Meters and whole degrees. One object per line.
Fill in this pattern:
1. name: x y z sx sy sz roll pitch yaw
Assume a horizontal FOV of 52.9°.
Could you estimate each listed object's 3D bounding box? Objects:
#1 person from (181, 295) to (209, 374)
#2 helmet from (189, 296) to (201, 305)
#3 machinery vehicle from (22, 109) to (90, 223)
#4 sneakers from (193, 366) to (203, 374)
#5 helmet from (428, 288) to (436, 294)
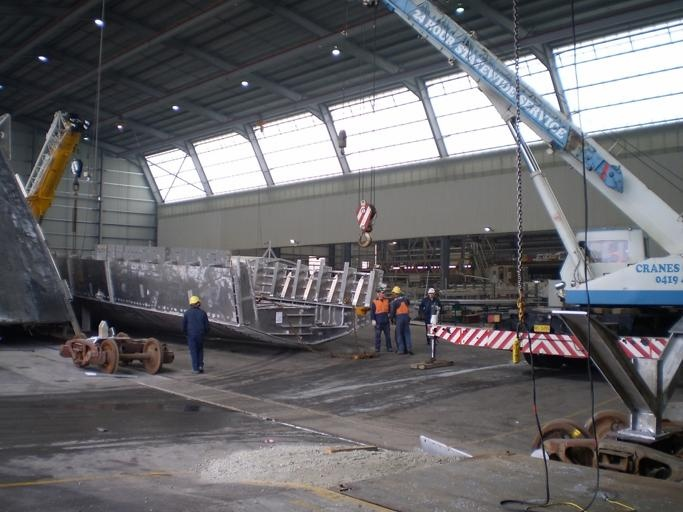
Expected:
1. person: -3.431 1.869 16.256 0.593 1.235 0.489 -3 -1 -16
2. helmet: -3.531 1.019 16.534 0.254 0.304 0.350 -2 -12 -8
3. machinery vehicle: -10.180 -3.129 24.296 2.771 3.865 1.446 -4 -2 35
4. sneakers: -3.365 2.689 16.145 0.262 0.107 0.295 -3 -2 -19
5. helmet: 2.617 1.037 20.028 0.118 0.170 0.174 3 17 13
